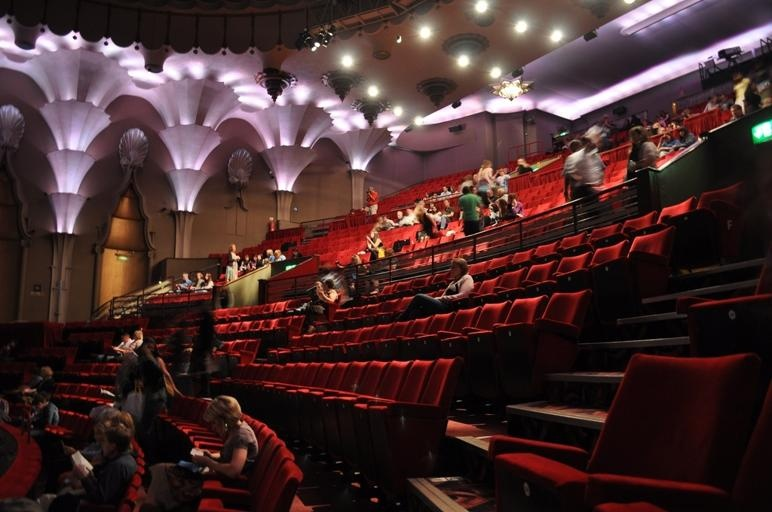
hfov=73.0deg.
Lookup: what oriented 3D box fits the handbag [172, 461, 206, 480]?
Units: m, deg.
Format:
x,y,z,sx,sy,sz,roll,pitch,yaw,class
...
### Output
x,y,z,sx,sy,sz,roll,pitch,yaw,class
-1.174,1.283,3.134,0.153,0.056,0.123,5,-2,37,handbag
